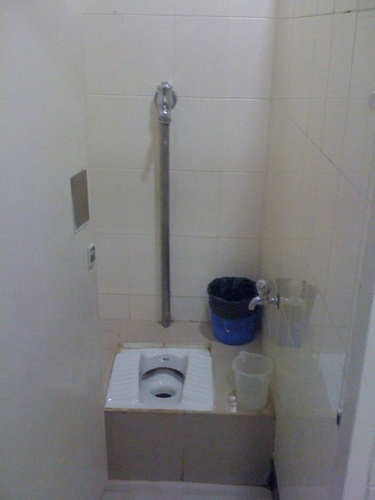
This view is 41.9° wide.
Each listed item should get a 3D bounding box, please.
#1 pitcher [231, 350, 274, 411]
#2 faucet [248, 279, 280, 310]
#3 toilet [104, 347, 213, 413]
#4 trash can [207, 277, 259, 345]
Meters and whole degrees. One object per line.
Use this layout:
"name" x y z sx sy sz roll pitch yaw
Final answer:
"pitcher" 0.233 0.507 1.890 0.154 0.190 0.160 1 22 -1
"faucet" 0.269 0.143 1.642 0.144 0.145 0.056 0 4 31
"toilet" -0.112 0.559 2.052 0.435 0.177 0.489 3 26 1
"trash can" 0.215 0.282 2.324 0.247 0.262 0.255 3 26 1
